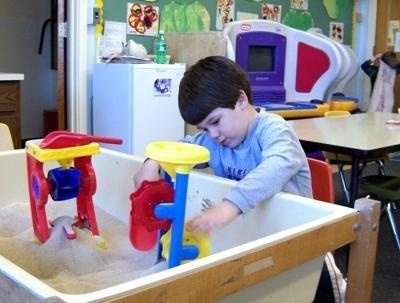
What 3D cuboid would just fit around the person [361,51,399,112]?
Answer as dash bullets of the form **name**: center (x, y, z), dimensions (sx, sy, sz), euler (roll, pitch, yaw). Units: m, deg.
- **person**: center (2.299, -0.893, 4.318), dimensions (0.443, 0.752, 0.318), euler (6, 11, 36)
